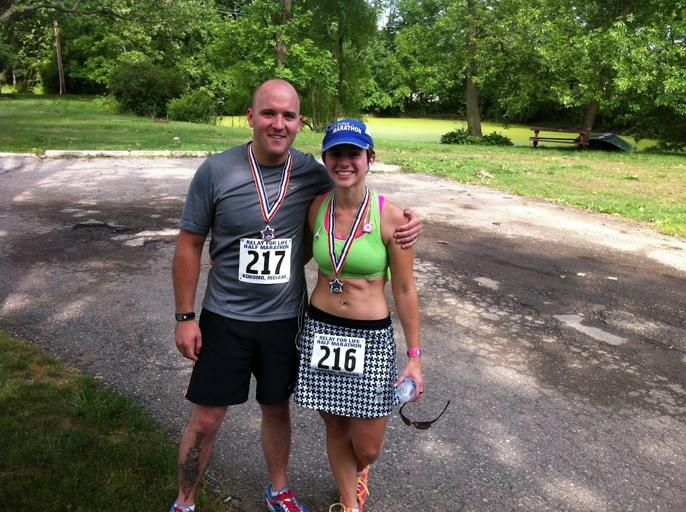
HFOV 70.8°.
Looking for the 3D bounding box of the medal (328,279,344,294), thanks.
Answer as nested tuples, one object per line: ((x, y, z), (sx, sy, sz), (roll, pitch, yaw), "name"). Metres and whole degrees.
((-0.046, 0.181, 2.897), (0.086, 0.095, 0.037), (14, 19, 31), "medal")

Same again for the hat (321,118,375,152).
((0.025, -0.711, 2.889), (0.297, 0.197, 0.255), (3, 16, -2), "hat")

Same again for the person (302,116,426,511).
((0.112, 0.441, 3.004), (0.764, 2.458, 0.546), (4, 16, 2), "person")
